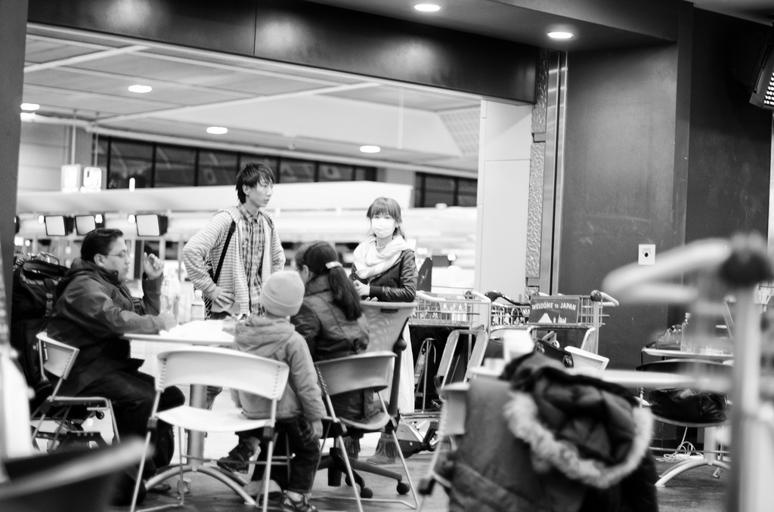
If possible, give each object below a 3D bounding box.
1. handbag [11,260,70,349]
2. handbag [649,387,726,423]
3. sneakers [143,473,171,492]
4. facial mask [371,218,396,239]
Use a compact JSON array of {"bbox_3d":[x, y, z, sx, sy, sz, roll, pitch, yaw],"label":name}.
[{"bbox_3d":[-2.189,0.324,5.050,0.296,0.537,0.387,-8,-23,35],"label":"handbag"},{"bbox_3d":[1.980,0.992,5.279,0.491,0.213,0.542,-1,-3,41],"label":"handbag"},{"bbox_3d":[-1.350,1.350,4.804,0.096,0.061,0.169,6,-14,-42],"label":"sneakers"},{"bbox_3d":[-0.042,-0.211,6.021,0.204,0.164,0.185,3,3,18],"label":"facial mask"}]
